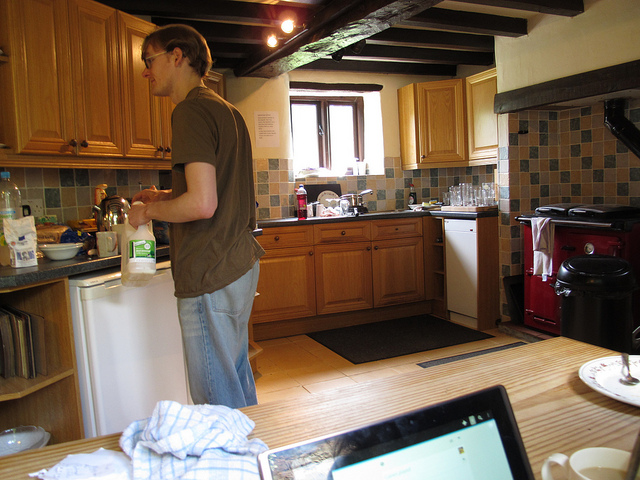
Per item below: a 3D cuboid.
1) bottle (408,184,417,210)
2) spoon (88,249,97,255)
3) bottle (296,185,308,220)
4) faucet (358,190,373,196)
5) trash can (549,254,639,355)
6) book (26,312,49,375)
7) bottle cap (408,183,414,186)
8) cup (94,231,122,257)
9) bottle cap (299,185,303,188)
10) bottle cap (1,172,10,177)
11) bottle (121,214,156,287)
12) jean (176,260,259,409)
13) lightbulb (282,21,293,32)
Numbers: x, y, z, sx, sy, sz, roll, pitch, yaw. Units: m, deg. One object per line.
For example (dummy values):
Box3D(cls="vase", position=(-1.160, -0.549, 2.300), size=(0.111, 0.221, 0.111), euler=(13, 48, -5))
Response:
Box3D(cls="bottle", position=(1.010, -0.504, 5.090), size=(0.105, 0.231, 0.080), euler=(-3, -10, -7))
Box3D(cls="spoon", position=(-1.122, 0.055, 2.284), size=(0.033, 0.029, 0.025), euler=(1, -11, -29))
Box3D(cls="bottle", position=(-0.174, -0.359, 4.324), size=(0.096, 0.369, 0.245), euler=(-3, -10, -4))
Box3D(cls="faucet", position=(0.440, -0.468, 4.526), size=(0.100, 0.028, 0.075), euler=(-11, -1, 18))
Box3D(cls="trash can", position=(1.666, 0.373, 2.808), size=(0.422, 0.587, 0.312), euler=(-9, -11, 25))
Box3D(cls="book", position=(-1.183, 0.430, 1.941), size=(0.028, 0.284, 0.238), euler=(-3, 1, -36))
Box3D(cls="bottle cap", position=(0.990, -0.613, 5.121), size=(0.042, 0.014, 0.030), euler=(10, -7, -32))
Box3D(cls="cup", position=(-1.032, 0.013, 2.264), size=(0.106, 0.138, 0.098), euler=(-4, -10, -1))
Box3D(cls="bottle cap", position=(-0.187, -0.522, 4.506), size=(0.034, 0.025, 0.036), euler=(-4, 8, -20))
Box3D(cls="bottle cap", position=(-1.430, -0.298, 2.114), size=(0.025, 0.016, 0.026), euler=(3, 4, 41))
Box3D(cls="bottle", position=(-0.707, 0.042, 1.806), size=(0.112, 0.242, 0.234), euler=(0, -11, -23))
Box3D(cls="jean", position=(-0.370, 0.360, 1.735), size=(0.310, 0.539, 0.234), euler=(1, -11, -27))
Box3D(cls="lightbulb", position=(-0.226, -1.445, 3.156), size=(0.060, 0.041, 0.066), euler=(3, -12, -36))
